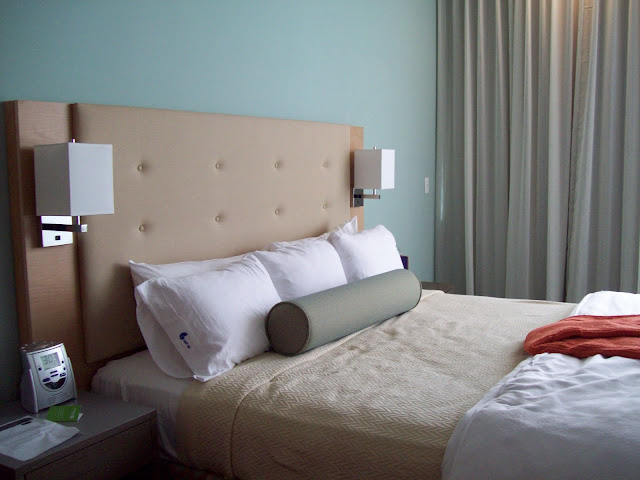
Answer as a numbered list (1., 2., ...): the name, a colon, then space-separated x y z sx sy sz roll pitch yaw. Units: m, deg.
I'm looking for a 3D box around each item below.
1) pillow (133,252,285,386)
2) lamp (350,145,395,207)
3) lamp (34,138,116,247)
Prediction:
1. pillow: -0.372 0.334 2.188 0.678 0.209 0.610 33 39 32
2. lamp: 0.383 -0.450 3.452 0.300 0.442 0.311 -3 13 -12
3. lamp: -1.003 -0.136 1.881 0.204 0.411 0.225 -2 -8 12
